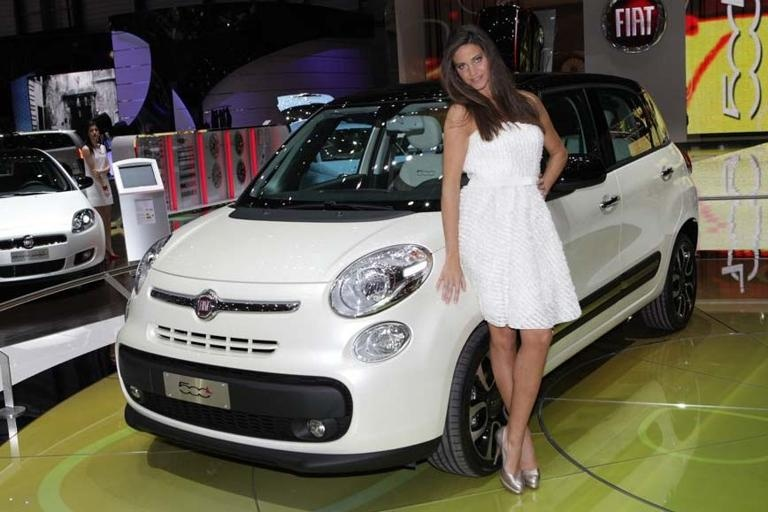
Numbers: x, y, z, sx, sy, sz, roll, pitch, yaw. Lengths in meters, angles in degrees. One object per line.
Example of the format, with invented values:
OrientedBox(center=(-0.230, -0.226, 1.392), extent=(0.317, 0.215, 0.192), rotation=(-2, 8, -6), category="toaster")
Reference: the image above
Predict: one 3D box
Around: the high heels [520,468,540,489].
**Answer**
OrientedBox(center=(0.692, 1.049, 2.355), extent=(0.060, 0.043, 0.114), rotation=(-5, -3, 3), category="high heels")

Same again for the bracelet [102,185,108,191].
OrientedBox(center=(-4.271, -1.044, 7.738), extent=(0.056, 0.068, 0.070), rotation=(3, 22, 7), category="bracelet")

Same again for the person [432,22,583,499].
OrientedBox(center=(0.548, 0.036, 2.309), extent=(0.658, 2.089, 0.531), rotation=(-6, 15, -2), category="person")

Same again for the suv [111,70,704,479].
OrientedBox(center=(0.480, 0.076, 3.033), extent=(1.901, 1.568, 3.175), rotation=(2, 9, 38), category="suv")

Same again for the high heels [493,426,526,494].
OrientedBox(center=(0.592, 0.964, 2.357), extent=(0.095, 0.326, 0.095), rotation=(-5, -2, -2), category="high heels")
